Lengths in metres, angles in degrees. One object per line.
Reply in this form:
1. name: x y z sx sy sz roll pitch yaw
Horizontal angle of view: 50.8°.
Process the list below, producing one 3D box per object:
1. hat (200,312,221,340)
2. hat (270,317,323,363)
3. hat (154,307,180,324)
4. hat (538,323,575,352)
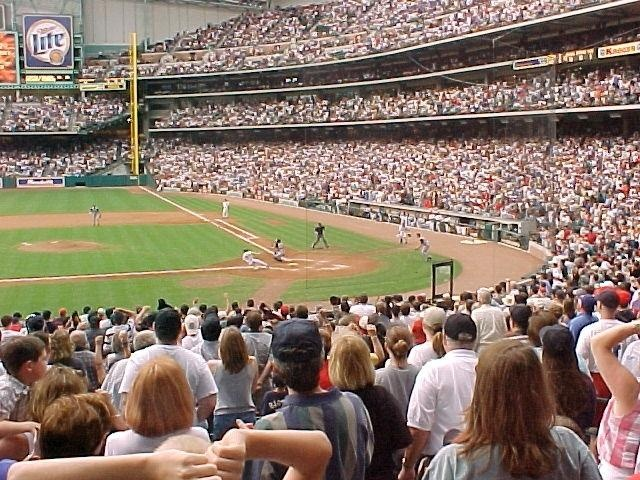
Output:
1. hat: -1.425 1.158 8.723 0.230 0.326 0.322 1 1 -12
2. hat: -0.187 0.791 5.341 0.403 0.314 0.249 1 1 -4
3. hat: -1.678 0.839 7.395 0.257 0.166 0.351 1 1 -7
4. hat: 2.296 0.952 6.526 0.305 0.111 0.214 0 26 -7
